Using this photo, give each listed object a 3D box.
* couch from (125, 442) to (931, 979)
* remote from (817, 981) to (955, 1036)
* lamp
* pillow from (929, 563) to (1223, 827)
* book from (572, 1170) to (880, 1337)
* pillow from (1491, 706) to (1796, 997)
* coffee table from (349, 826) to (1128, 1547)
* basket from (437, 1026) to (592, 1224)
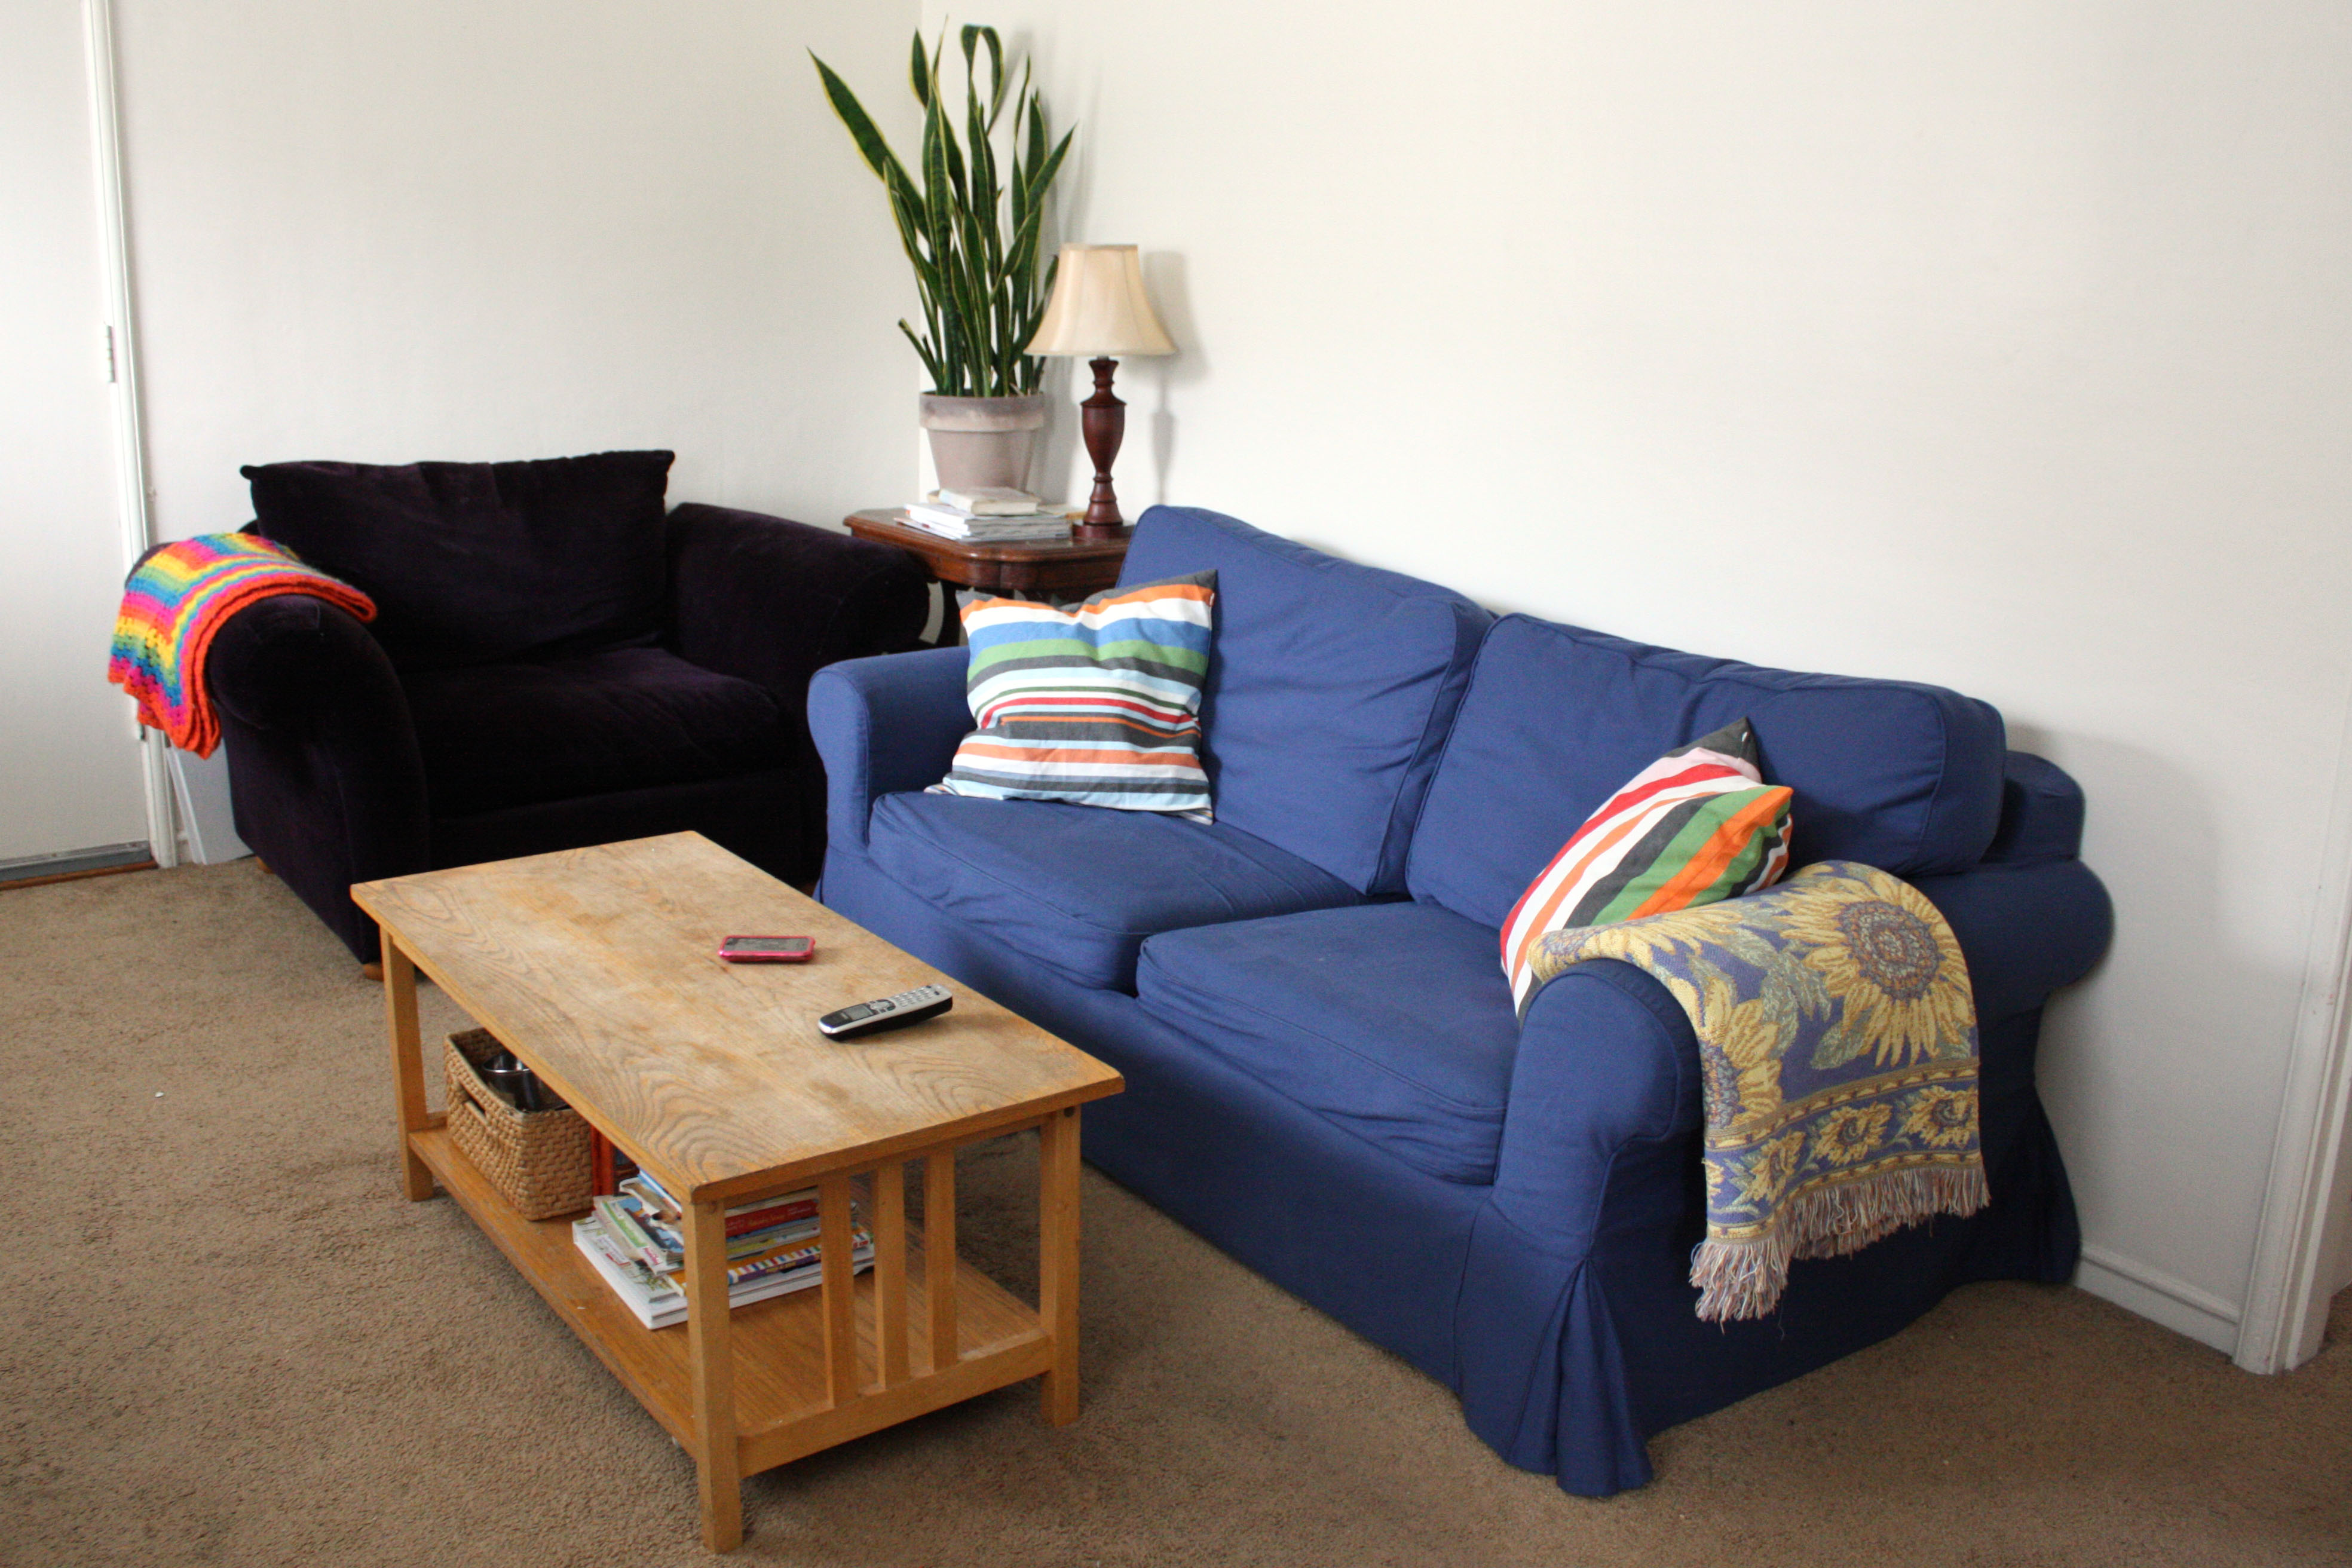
[{"bbox_3d":[-1.653,-0.271,4.550,1.703,1.041,1.176,-11,22,-42],"label":"couch"},{"bbox_3d":[-0.478,0.351,2.883,0.174,0.030,0.078,-11,16,-31],"label":"remote"},{"bbox_3d":[-0.175,-1.020,4.600,0.365,0.741,0.384,-9,21,-18],"label":"lamp"},{"bbox_3d":[-0.114,-0.176,4.051,0.851,0.811,0.456,1,-2,6],"label":"pillow"},{"bbox_3d":[-0.816,0.769,2.974,0.360,0.086,0.329,-5,13,-31],"label":"book"},{"bbox_3d":[0.867,0.130,3.234,0.315,0.473,0.564,16,16,5],"label":"pillow"},{"bbox_3d":[-0.655,0.177,2.812,0.889,0.786,1.697,-11,23,-34],"label":"coffee table"},{"bbox_3d":[-1.183,0.610,3.140,0.246,0.220,0.436,-3,22,-39],"label":"basket"}]
